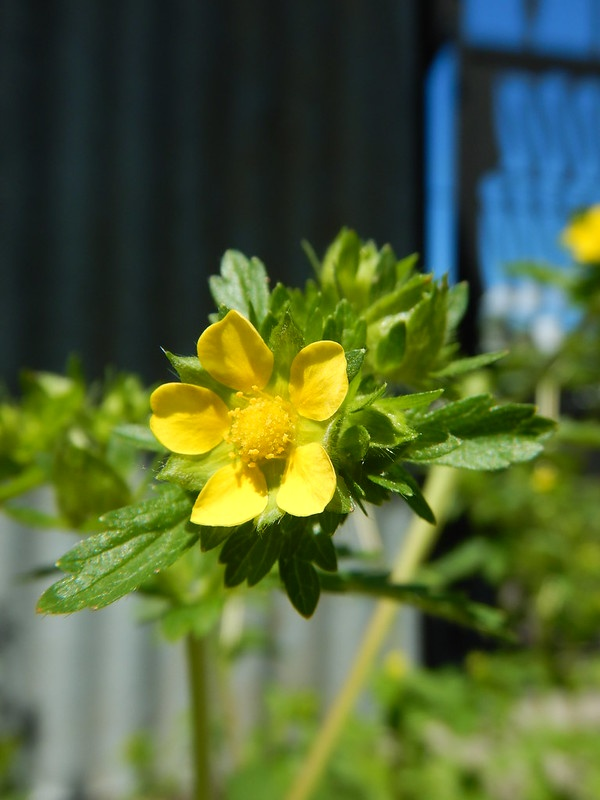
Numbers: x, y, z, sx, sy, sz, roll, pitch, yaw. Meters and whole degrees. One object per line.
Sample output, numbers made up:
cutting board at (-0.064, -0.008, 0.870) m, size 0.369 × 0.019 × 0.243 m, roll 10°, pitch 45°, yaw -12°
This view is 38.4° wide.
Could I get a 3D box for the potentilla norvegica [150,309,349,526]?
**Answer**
potentilla norvegica at (-0.044, 0.024, 0.851) m, size 0.194 × 0.194 × 0.078 m, roll -21°, pitch -3°, yaw 1°
